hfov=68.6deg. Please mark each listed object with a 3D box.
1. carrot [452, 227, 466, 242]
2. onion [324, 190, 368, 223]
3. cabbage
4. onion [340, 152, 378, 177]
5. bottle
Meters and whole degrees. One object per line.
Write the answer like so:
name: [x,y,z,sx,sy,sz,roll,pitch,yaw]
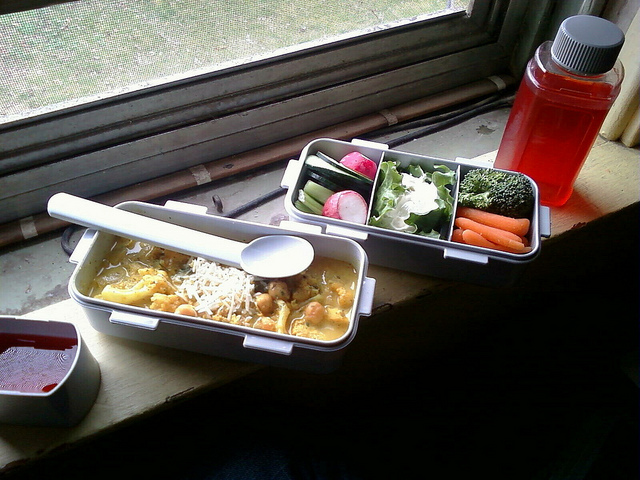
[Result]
carrot: [0.312,-0.011,1.053,0.025,0.026,0.028,1,58,15]
onion: [0.058,-0.075,1.100,0.109,0.050,0.072,-5,58,-2]
cabbage: [0.223,-0.095,1.118,0.189,0.074,0.196,8,58,6]
onion: [0.107,-0.174,1.194,0.072,0.076,0.037,38,106,54]
bottle: [0.585,-0.309,1.136,0.231,0.389,0.293,21,63,13]
